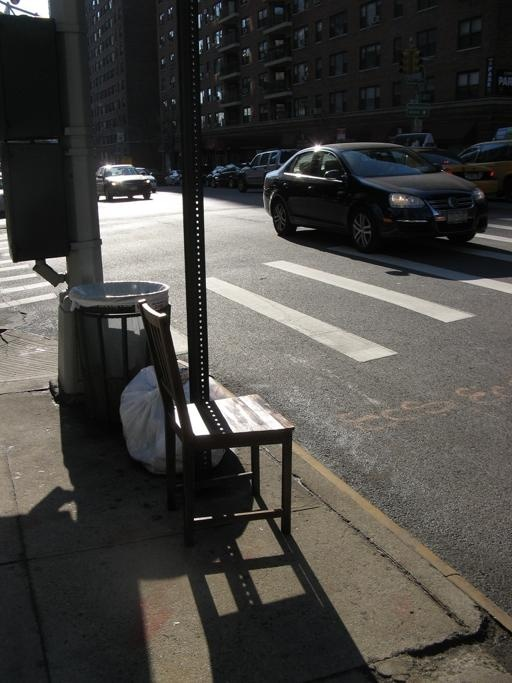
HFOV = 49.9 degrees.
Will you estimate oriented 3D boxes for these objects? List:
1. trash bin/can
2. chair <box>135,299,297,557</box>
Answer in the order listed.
[{"bbox_3d":[-0.834,-0.009,4.069,0.931,1.031,0.913,-7,12,-29],"label":"trash bin/can"},{"bbox_3d":[-0.167,0.327,2.520,0.659,1.000,0.690,-2,8,-16],"label":"chair"}]
